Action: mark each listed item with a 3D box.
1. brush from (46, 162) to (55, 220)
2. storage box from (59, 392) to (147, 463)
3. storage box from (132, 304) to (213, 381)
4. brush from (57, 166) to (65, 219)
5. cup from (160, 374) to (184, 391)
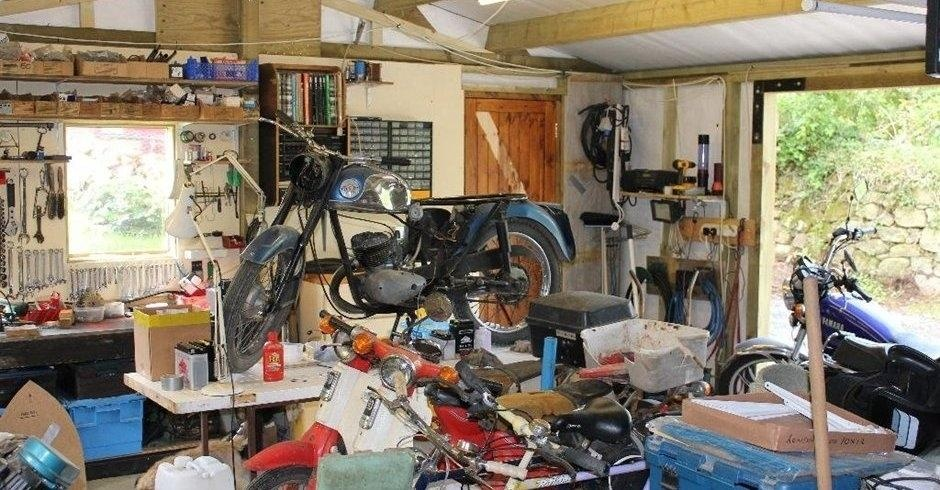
[{"bbox_3d":[-4.334,-0.555,7.432,0.089,0.557,0.050,-4,7,-24],"label":"brush"},{"bbox_3d":[-3.531,1.760,7.018,0.713,0.369,0.665,-1,5,-23],"label":"storage box"},{"bbox_3d":[-2.393,0.782,5.802,0.688,0.433,0.625,-5,0,-6],"label":"storage box"},{"bbox_3d":[-4.264,-0.533,7.465,0.043,0.536,0.109,6,9,5],"label":"brush"},{"bbox_3d":[-2.225,1.026,5.401,0.130,0.066,0.119,2,-1,0],"label":"cup"}]
